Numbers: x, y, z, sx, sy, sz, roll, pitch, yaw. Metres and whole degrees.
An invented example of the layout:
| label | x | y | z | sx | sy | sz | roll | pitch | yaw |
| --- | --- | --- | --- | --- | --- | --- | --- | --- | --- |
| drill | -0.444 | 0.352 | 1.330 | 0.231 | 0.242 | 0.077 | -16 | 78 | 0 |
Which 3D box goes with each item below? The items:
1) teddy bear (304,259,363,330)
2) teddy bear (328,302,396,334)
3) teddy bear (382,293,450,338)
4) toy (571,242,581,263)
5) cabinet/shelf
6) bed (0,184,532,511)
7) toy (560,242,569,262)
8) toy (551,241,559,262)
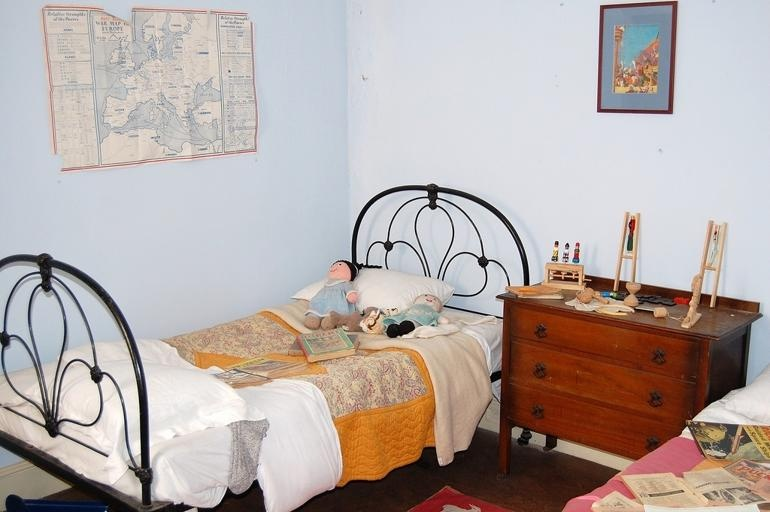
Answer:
| label | x | y | z | sx | sy | sz | roll | pitch | yaw |
| --- | --- | --- | --- | --- | --- | --- | --- | --- | --- |
| teddy bear | -0.325 | 0.221 | 3.526 | 0.309 | 0.428 | 0.380 | -2 | 0 | 23 |
| teddy bear | -0.150 | 0.361 | 3.351 | 0.291 | 0.091 | 0.183 | -1 | 0 | -20 |
| teddy bear | 0.216 | 0.363 | 3.377 | 0.322 | 0.149 | 0.472 | 4 | 19 | 32 |
| toy | 1.121 | -0.019 | 3.254 | 0.044 | 0.117 | 0.134 | 6 | 12 | 18 |
| cabinet/shelf | 1.228 | 0.528 | 3.233 | 1.424 | 1.305 | 0.893 | 8 | 12 | 39 |
| bed | -0.367 | 0.375 | 3.163 | 1.588 | 1.482 | 2.827 | 10 | 11 | 36 |
| toy | 1.075 | -0.023 | 3.293 | 0.044 | 0.113 | 0.125 | 5 | 12 | 17 |
| toy | 1.012 | -0.030 | 3.298 | 0.046 | 0.140 | 0.192 | 5 | 12 | 17 |
